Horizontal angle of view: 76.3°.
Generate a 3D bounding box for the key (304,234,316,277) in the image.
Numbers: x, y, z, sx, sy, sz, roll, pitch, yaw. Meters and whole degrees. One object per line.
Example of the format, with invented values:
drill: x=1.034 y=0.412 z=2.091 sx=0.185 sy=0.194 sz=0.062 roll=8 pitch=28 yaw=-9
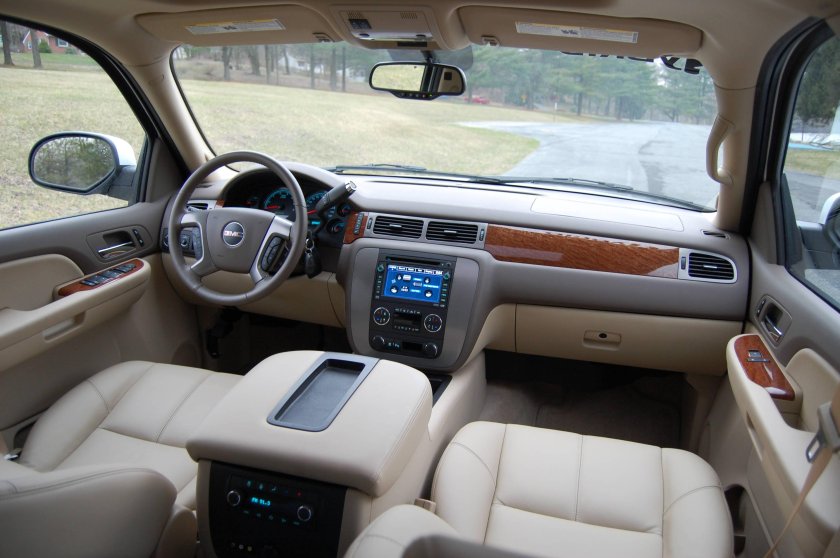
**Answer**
key: x=-0.597 y=-0.112 z=2.924 sx=0.060 sy=0.200 sz=0.087 roll=4 pitch=26 yaw=9
